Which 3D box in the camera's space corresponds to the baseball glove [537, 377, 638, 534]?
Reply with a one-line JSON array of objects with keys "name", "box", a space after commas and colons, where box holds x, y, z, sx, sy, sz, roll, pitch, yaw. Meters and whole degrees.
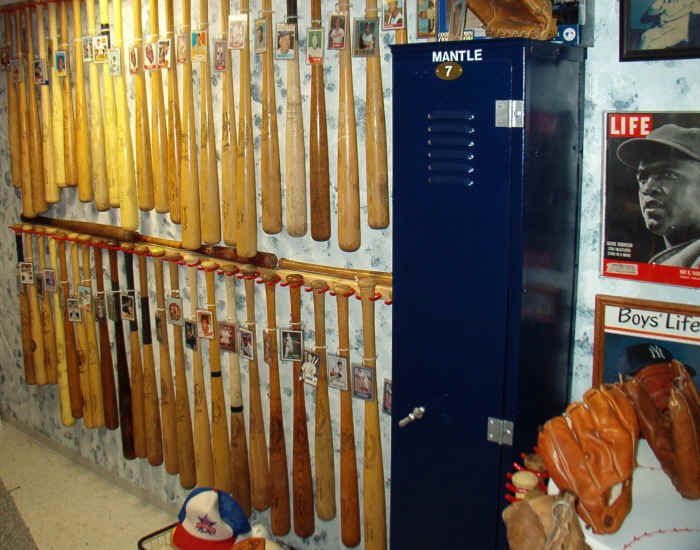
[{"name": "baseball glove", "box": [0.616, 0.448, 1.982, 0.249, 0.343, 0.113, -27, -10, 5]}]
